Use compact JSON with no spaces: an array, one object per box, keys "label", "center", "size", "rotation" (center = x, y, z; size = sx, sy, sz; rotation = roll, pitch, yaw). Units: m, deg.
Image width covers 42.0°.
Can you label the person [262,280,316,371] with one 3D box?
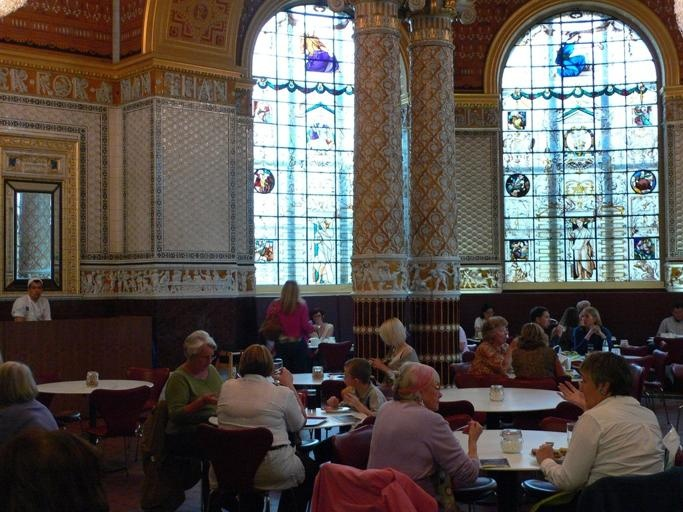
[{"label":"person","center":[-0.684,1.204,11.605],"size":[0.696,1.694,0.562],"rotation":[-1,0,-4]}]

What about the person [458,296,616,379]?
[{"label":"person","center":[2.072,1.097,10.421],"size":[1.268,0.571,1.297],"rotation":[-3,0,-14]}]

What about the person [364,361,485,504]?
[{"label":"person","center":[0.640,1.408,6.874],"size":[0.892,1.151,0.447],"rotation":[-2,-3,2]}]

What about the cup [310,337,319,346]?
[{"label":"cup","center":[-0.426,1.328,13.690],"size":[0.096,0.087,0.113],"rotation":[3,-6,-32]}]

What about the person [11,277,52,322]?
[{"label":"person","center":[-4.323,0.614,12.284],"size":[0.518,0.743,0.399],"rotation":[2,-9,-34]}]

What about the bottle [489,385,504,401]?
[{"label":"bottle","center":[1.501,1.331,8.673],"size":[0.135,0.128,0.136],"rotation":[0,-2,-11]}]

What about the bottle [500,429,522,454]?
[{"label":"bottle","center":[1.364,1.492,7.192],"size":[0.177,0.177,0.171],"rotation":[0,-4,-1]}]

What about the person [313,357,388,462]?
[{"label":"person","center":[0.106,1.382,8.104],"size":[0.831,0.865,0.775],"rotation":[1,-1,9]}]

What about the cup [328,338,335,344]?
[{"label":"cup","center":[-0.167,1.324,13.892],"size":[0.089,0.066,0.068],"rotation":[-2,-1,14]}]

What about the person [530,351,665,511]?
[{"label":"person","center":[1.928,1.242,6.610],"size":[0.832,1.022,0.241],"rotation":[-3,-3,17]}]
